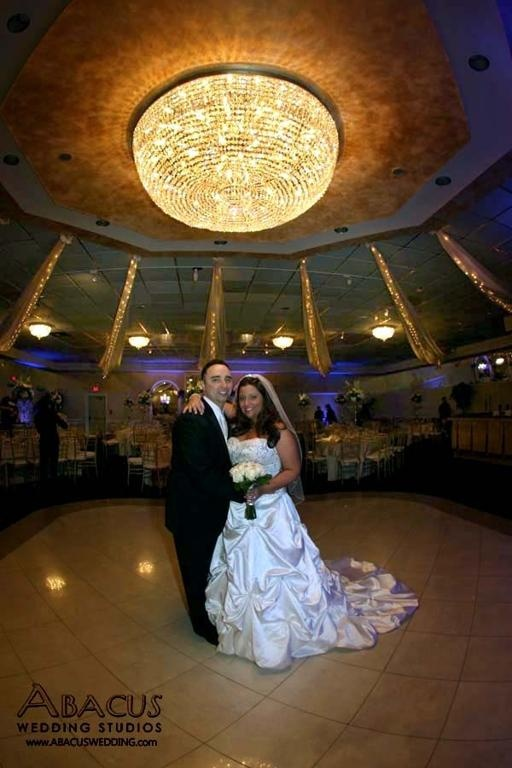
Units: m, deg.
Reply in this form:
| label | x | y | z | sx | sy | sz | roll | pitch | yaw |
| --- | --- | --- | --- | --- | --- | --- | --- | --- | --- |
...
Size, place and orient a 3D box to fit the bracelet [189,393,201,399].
| label | x | y | z | sx | sy | sz | roll | pitch | yaw |
| --- | --- | --- | --- | --- | --- | --- | --- | --- | --- |
| bracelet | -0.387 | 0.076 | 3.063 | 0.065 | 0.046 | 0.063 | 3 | -5 | -25 |

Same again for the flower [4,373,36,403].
| label | x | y | z | sx | sy | sz | roll | pitch | yaw |
| --- | --- | --- | --- | --- | --- | --- | --- | --- | --- |
| flower | -7.372 | 0.076 | 14.829 | 0.787 | 1.107 | 1.082 | 3 | -18 | -16 |

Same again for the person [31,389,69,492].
| label | x | y | z | sx | sy | sz | roll | pitch | yaw |
| --- | --- | --- | --- | --- | --- | --- | --- | --- | --- |
| person | -3.674 | 0.982 | 8.515 | 0.502 | 1.625 | 1.123 | -1 | -1 | -25 |

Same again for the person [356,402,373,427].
| label | x | y | z | sx | sy | sz | roll | pitch | yaw |
| --- | --- | --- | --- | --- | --- | --- | --- | --- | --- |
| person | 4.420 | 1.250 | 19.607 | 0.304 | 1.126 | 0.820 | 10 | 25 | 20 |
